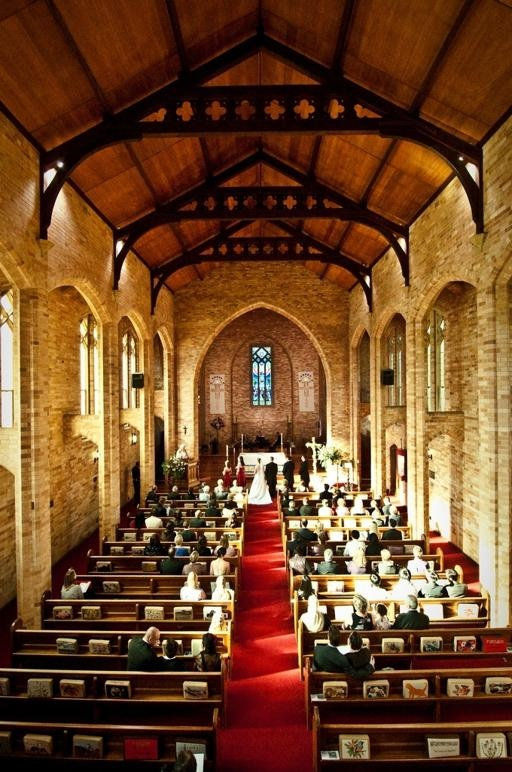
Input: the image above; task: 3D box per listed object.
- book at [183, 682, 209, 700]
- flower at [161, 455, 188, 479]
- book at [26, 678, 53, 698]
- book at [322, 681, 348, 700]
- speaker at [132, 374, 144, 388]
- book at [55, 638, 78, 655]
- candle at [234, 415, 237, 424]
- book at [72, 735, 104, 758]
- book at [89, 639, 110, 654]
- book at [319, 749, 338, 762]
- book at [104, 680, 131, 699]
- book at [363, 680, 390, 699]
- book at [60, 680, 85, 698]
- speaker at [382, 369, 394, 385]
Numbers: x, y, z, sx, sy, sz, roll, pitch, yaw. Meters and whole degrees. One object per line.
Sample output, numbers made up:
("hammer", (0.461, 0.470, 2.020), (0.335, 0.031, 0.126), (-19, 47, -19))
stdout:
("book", (-0.576, 2.888, 5.517), (0.228, 0.165, 0.212), (-2, 1, -10))
("flower", (-2.563, 2.575, 18.245), (0.704, 0.787, 0.682), (3, -12, -17))
("book", (-2.043, 2.872, 5.498), (0.201, 0.147, 0.113), (1, 3, 0))
("book", (0.759, 2.881, 5.507), (0.242, 0.133, 0.131), (-2, 1, -3))
("speaker", (-3.263, -0.109, 16.139), (0.316, 0.491, 0.342), (0, -16, -5))
("book", (-2.130, 2.950, 6.558), (0.215, 0.196, 0.205), (-3, 1, -19))
("candle", (-1.024, 1.735, 29.093), (0.126, 0.337, 0.107), (-2, 1, -4))
("book", (-1.412, 3.041, 4.875), (0.189, 0.171, 0.071), (2, 10, 7))
("book", (-1.751, 2.920, 6.473), (0.266, 0.164, 0.120), (-2, 1, 10))
("book", (0.602, 3.036, 4.757), (0.155, 0.049, 0.154), (-2, 1, 2))
("book", (-1.300, 2.870, 5.472), (0.196, 0.150, 0.113), (2, 10, 5))
("book", (1.142, 2.896, 5.544), (0.238, 0.130, 0.177), (-2, 1, 10))
("book", (-1.741, 2.891, 5.533), (0.175, 0.134, 0.061), (3, 21, 4))
("speaker", (3.600, -0.241, 16.016), (0.351, 0.547, 0.365), (-2, -2, 38))
